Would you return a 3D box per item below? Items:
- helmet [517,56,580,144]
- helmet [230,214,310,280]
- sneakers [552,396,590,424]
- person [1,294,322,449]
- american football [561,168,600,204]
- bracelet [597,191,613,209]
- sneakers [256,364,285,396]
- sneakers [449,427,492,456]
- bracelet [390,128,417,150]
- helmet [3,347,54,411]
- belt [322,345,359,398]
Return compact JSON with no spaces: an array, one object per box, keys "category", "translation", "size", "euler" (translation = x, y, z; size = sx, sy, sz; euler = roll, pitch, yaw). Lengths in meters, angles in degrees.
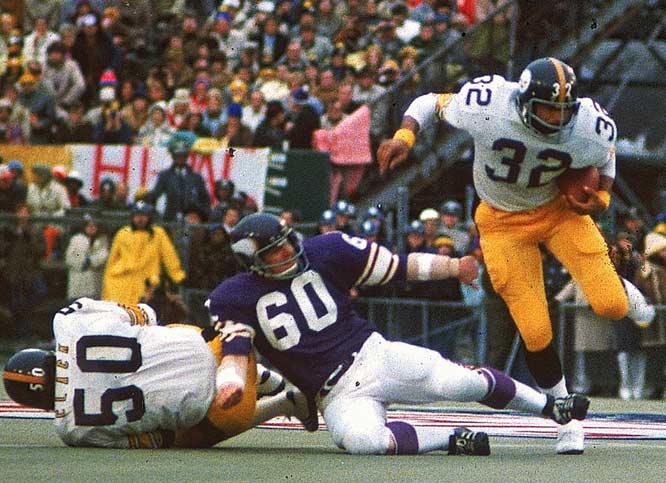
[{"category":"helmet","translation":[1.652,-1.154,10.901],"size":[0.455,0.563,0.640],"euler":[-3,27,-14]},{"category":"helmet","translation":[-0.528,0.003,10.642],"size":[0.570,0.471,0.439],"euler":[-2,29,15]},{"category":"sneakers","translation":[1.795,1.258,10.578],"size":[0.178,0.138,0.373],"euler":[5,-14,-30]},{"category":"person","translation":[-1.408,0.975,10.508],"size":[1.838,0.748,0.993],"euler":[6,41,-4]},{"category":"american football","translation":[1.908,-0.432,10.909],"size":[0.231,0.185,0.278],"euler":[0,-7,-32]},{"category":"bracelet","translation":[2.082,-0.316,10.887],"size":[0.132,0.137,0.133],"euler":[-3,10,7]},{"category":"sneakers","translation":[-0.494,1.084,11.028],"size":[0.211,0.133,0.214],"euler":[-16,-44,43]},{"category":"sneakers","translation":[0.996,1.485,10.424],"size":[0.368,0.163,0.136],"euler":[-6,-9,23]},{"category":"bracelet","translation":[0.555,-0.818,11.083],"size":[0.167,0.064,0.146],"euler":[17,22,-7]},{"category":"helmet","translation":[-2.249,1.028,10.540],"size":[0.439,0.458,0.354],"euler":[5,1,0]},{"category":"belt","translation":[0.042,0.980,10.675],"size":[0.304,0.314,0.241],"euler":[35,5,4]}]
